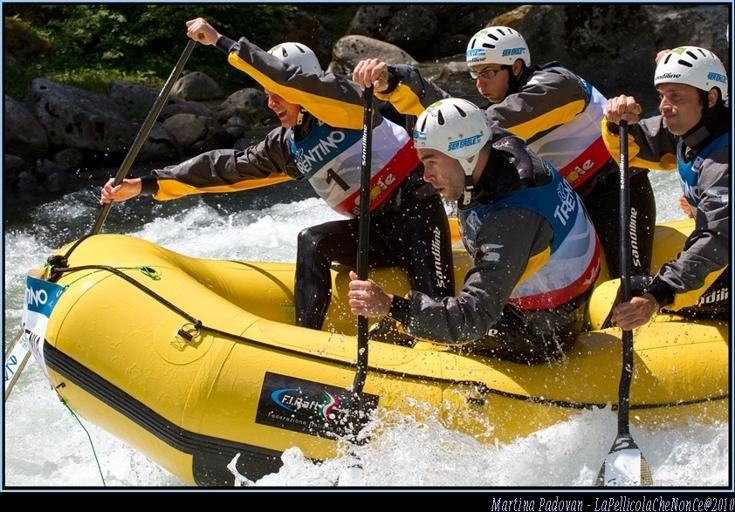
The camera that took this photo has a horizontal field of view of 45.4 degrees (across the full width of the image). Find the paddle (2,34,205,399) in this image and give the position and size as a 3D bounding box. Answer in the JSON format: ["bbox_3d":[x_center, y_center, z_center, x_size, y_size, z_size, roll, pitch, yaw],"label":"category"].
[{"bbox_3d":[-2.905,-0.535,9.473,0.547,0.392,5.674,27,73,-14],"label":"paddle"}]

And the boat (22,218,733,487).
[{"bbox_3d":[-0.268,0.766,6.711,4.096,2.265,1.278,2,94,5],"label":"boat"}]

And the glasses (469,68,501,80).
[{"bbox_3d":[0.968,-1.456,7.031,0.136,0.044,0.132,-30,26,-33],"label":"glasses"}]
